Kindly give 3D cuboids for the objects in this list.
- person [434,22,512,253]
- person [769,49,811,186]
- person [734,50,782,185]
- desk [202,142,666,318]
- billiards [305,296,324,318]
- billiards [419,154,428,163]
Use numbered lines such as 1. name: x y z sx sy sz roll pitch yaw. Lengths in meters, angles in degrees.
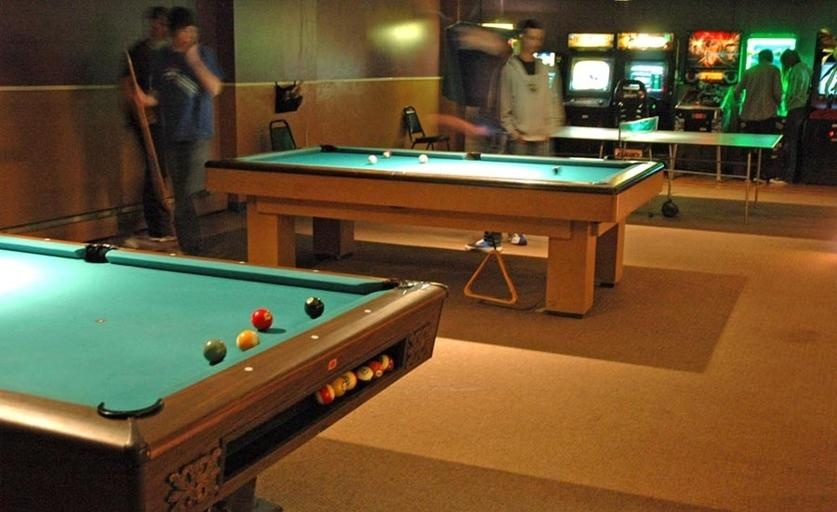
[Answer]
1. person: 0.602 -1.713 9.504 1.210 3.144 1.266 3 19 11
2. person: 5.707 -2.141 9.889 0.513 1.883 0.649 8 21 21
3. person: 5.290 -2.186 9.928 0.608 1.862 0.662 -9 14 -28
4. desk: 0.432 -0.485 5.336 3.103 0.948 1.629 5 10 25
5. billiards: -0.407 0.205 2.585 0.083 0.081 0.077 3 0 -16
6. billiards: 0.044 -0.850 5.671 0.099 0.088 0.090 -1 9 4
